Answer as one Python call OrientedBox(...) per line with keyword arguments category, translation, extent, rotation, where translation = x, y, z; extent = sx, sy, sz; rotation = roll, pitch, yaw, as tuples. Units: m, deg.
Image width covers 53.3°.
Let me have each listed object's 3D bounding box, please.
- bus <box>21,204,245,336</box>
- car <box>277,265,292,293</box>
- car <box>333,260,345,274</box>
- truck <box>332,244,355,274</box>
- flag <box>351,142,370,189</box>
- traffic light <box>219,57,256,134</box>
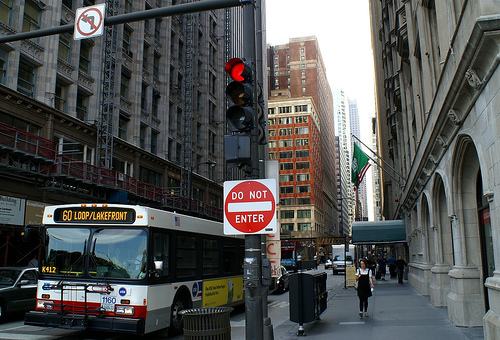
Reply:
OrientedBox(category="bus", translation=(-3.913, 3.828, 19.001), extent=(7.657, 4.847, 3.345), rotation=(9, -17, -42))
OrientedBox(category="car", translation=(2.283, 7.316, 33.058), extent=(1.189, 1.172, 2.999), rotation=(-3, -21, 11))
OrientedBox(category="car", translation=(10.849, 11.784, 60.767), extent=(1.271, 1.265, 2.625), rotation=(-2, -24, 7))
OrientedBox(category="truck", translation=(11.997, 11.715, 63.130), extent=(2.789, 3.934, 6.332), rotation=(-3, -14, 18))
OrientedBox(category="flag", translation=(8.388, -0.275, 37.555), extent=(1.493, 4.748, 0.384), rotation=(-3, 30, 16))
OrientedBox(category="traffic light", translation=(-0.240, -2.130, 13.839), extent=(0.826, 2.168, 0.541), rotation=(-2, -11, 0))
